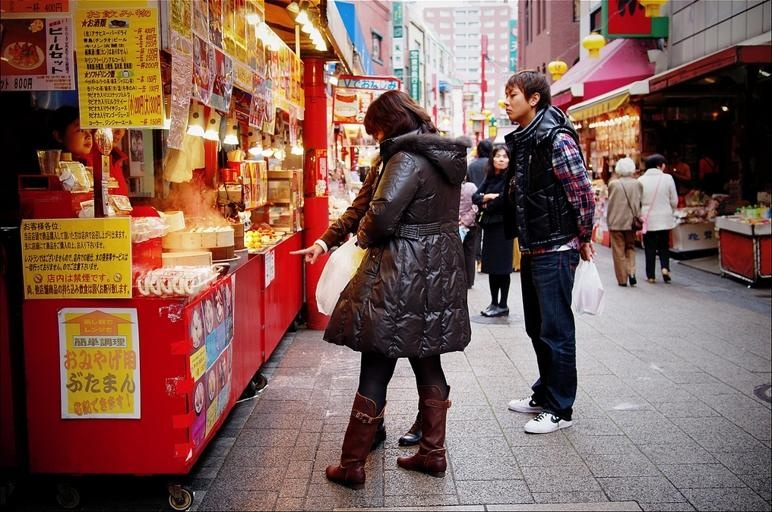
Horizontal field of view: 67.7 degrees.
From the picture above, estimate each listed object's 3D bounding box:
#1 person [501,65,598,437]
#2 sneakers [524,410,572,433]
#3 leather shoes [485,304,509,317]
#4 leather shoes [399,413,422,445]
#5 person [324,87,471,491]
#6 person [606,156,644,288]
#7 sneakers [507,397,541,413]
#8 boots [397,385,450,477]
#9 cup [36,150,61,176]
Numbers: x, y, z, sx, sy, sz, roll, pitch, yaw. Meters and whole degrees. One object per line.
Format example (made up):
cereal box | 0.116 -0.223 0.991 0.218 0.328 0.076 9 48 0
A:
person | 1.302 -0.057 4.814 0.720 2.935 0.593 8 12 43
sneakers | 1.331 1.364 4.774 0.422 0.166 0.155 -1 4 -9
leather shoes | 1.593 0.793 8.258 0.264 0.095 0.182 1 -4 -29
leather shoes | 0.218 1.403 4.637 0.116 0.233 0.336 1 1 26
person | 0.087 0.214 4.041 1.046 2.694 0.575 -2 9 -7
person | 4.280 -0.613 10.301 0.600 2.202 0.942 3 10 23
sneakers | 1.219 1.322 5.120 0.316 0.125 0.116 2 2 5
boots | 0.284 1.283 4.214 0.405 0.612 0.220 -3 -22 26
cup | -2.406 -0.672 4.093 0.152 0.160 0.141 -1 9 0
